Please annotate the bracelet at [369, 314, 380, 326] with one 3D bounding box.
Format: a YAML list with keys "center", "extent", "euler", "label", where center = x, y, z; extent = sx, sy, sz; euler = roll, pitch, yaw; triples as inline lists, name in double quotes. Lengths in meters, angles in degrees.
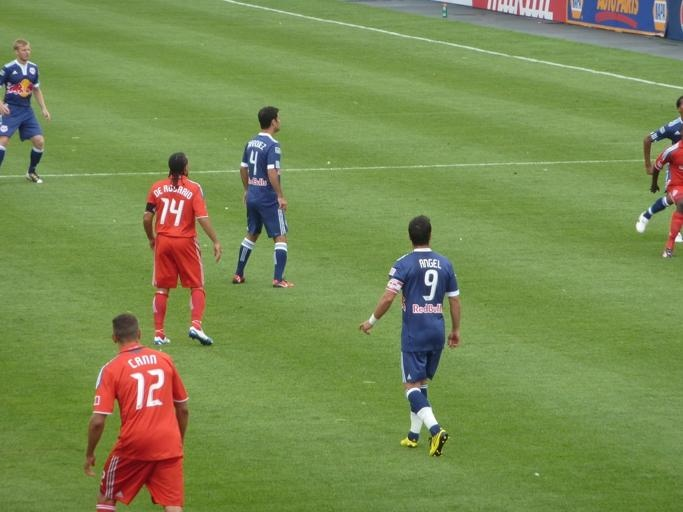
- center: [0.392, 0.740, 15.966]
  extent: [0.092, 0.119, 0.067]
  euler: [-3, 10, -22]
  label: "bracelet"

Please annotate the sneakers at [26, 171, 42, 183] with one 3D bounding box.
- center: [-5.518, -1.452, 25.045]
  extent: [0.406, 0.169, 0.136]
  euler: [12, 25, 40]
  label: "sneakers"

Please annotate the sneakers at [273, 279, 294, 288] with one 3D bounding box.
- center: [-0.851, 0.406, 20.322]
  extent: [0.322, 0.124, 0.109]
  euler: [1, 2, -7]
  label: "sneakers"

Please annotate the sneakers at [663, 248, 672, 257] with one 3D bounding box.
- center: [5.173, -0.063, 21.706]
  extent: [0.125, 0.134, 0.320]
  euler: [3, 7, 13]
  label: "sneakers"

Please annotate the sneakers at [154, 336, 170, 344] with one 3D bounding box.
- center: [-2.360, 1.112, 18.277]
  extent: [0.197, 0.106, 0.092]
  euler: [-4, 10, -31]
  label: "sneakers"

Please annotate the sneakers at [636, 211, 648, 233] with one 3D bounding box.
- center: [5.004, -0.559, 22.566]
  extent: [0.154, 0.364, 0.179]
  euler: [6, 1, -17]
  label: "sneakers"

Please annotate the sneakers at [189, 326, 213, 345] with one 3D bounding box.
- center: [-1.861, 1.064, 18.309]
  extent: [0.272, 0.094, 0.135]
  euler: [35, 34, -26]
  label: "sneakers"

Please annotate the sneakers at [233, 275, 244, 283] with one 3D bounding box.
- center: [-1.517, 0.341, 20.511]
  extent: [0.174, 0.150, 0.098]
  euler: [-1, 9, -6]
  label: "sneakers"
